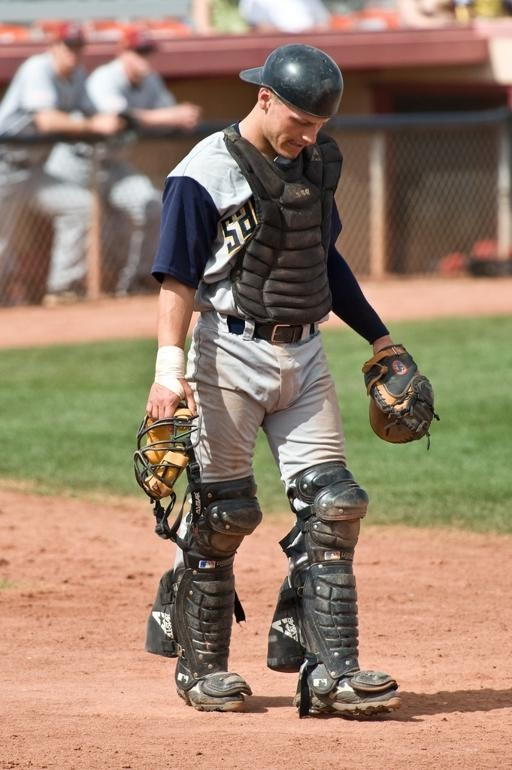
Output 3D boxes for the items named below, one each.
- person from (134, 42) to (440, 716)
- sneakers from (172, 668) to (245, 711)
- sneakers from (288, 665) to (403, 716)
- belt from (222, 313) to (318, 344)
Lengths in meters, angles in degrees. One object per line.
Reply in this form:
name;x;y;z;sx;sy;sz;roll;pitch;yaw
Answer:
person;0.093;0.004;2.573;0.722;1.768;0.597;-1;2;-1
sneakers;-0.118;0.818;2.581;0.083;0.090;0.212;1;-3;-37
sneakers;0.224;0.789;2.531;0.308;0.160;0.118;-8;-5;33
belt;0.059;-0.139;2.526;0.268;0.072;0.105;-1;2;-39
